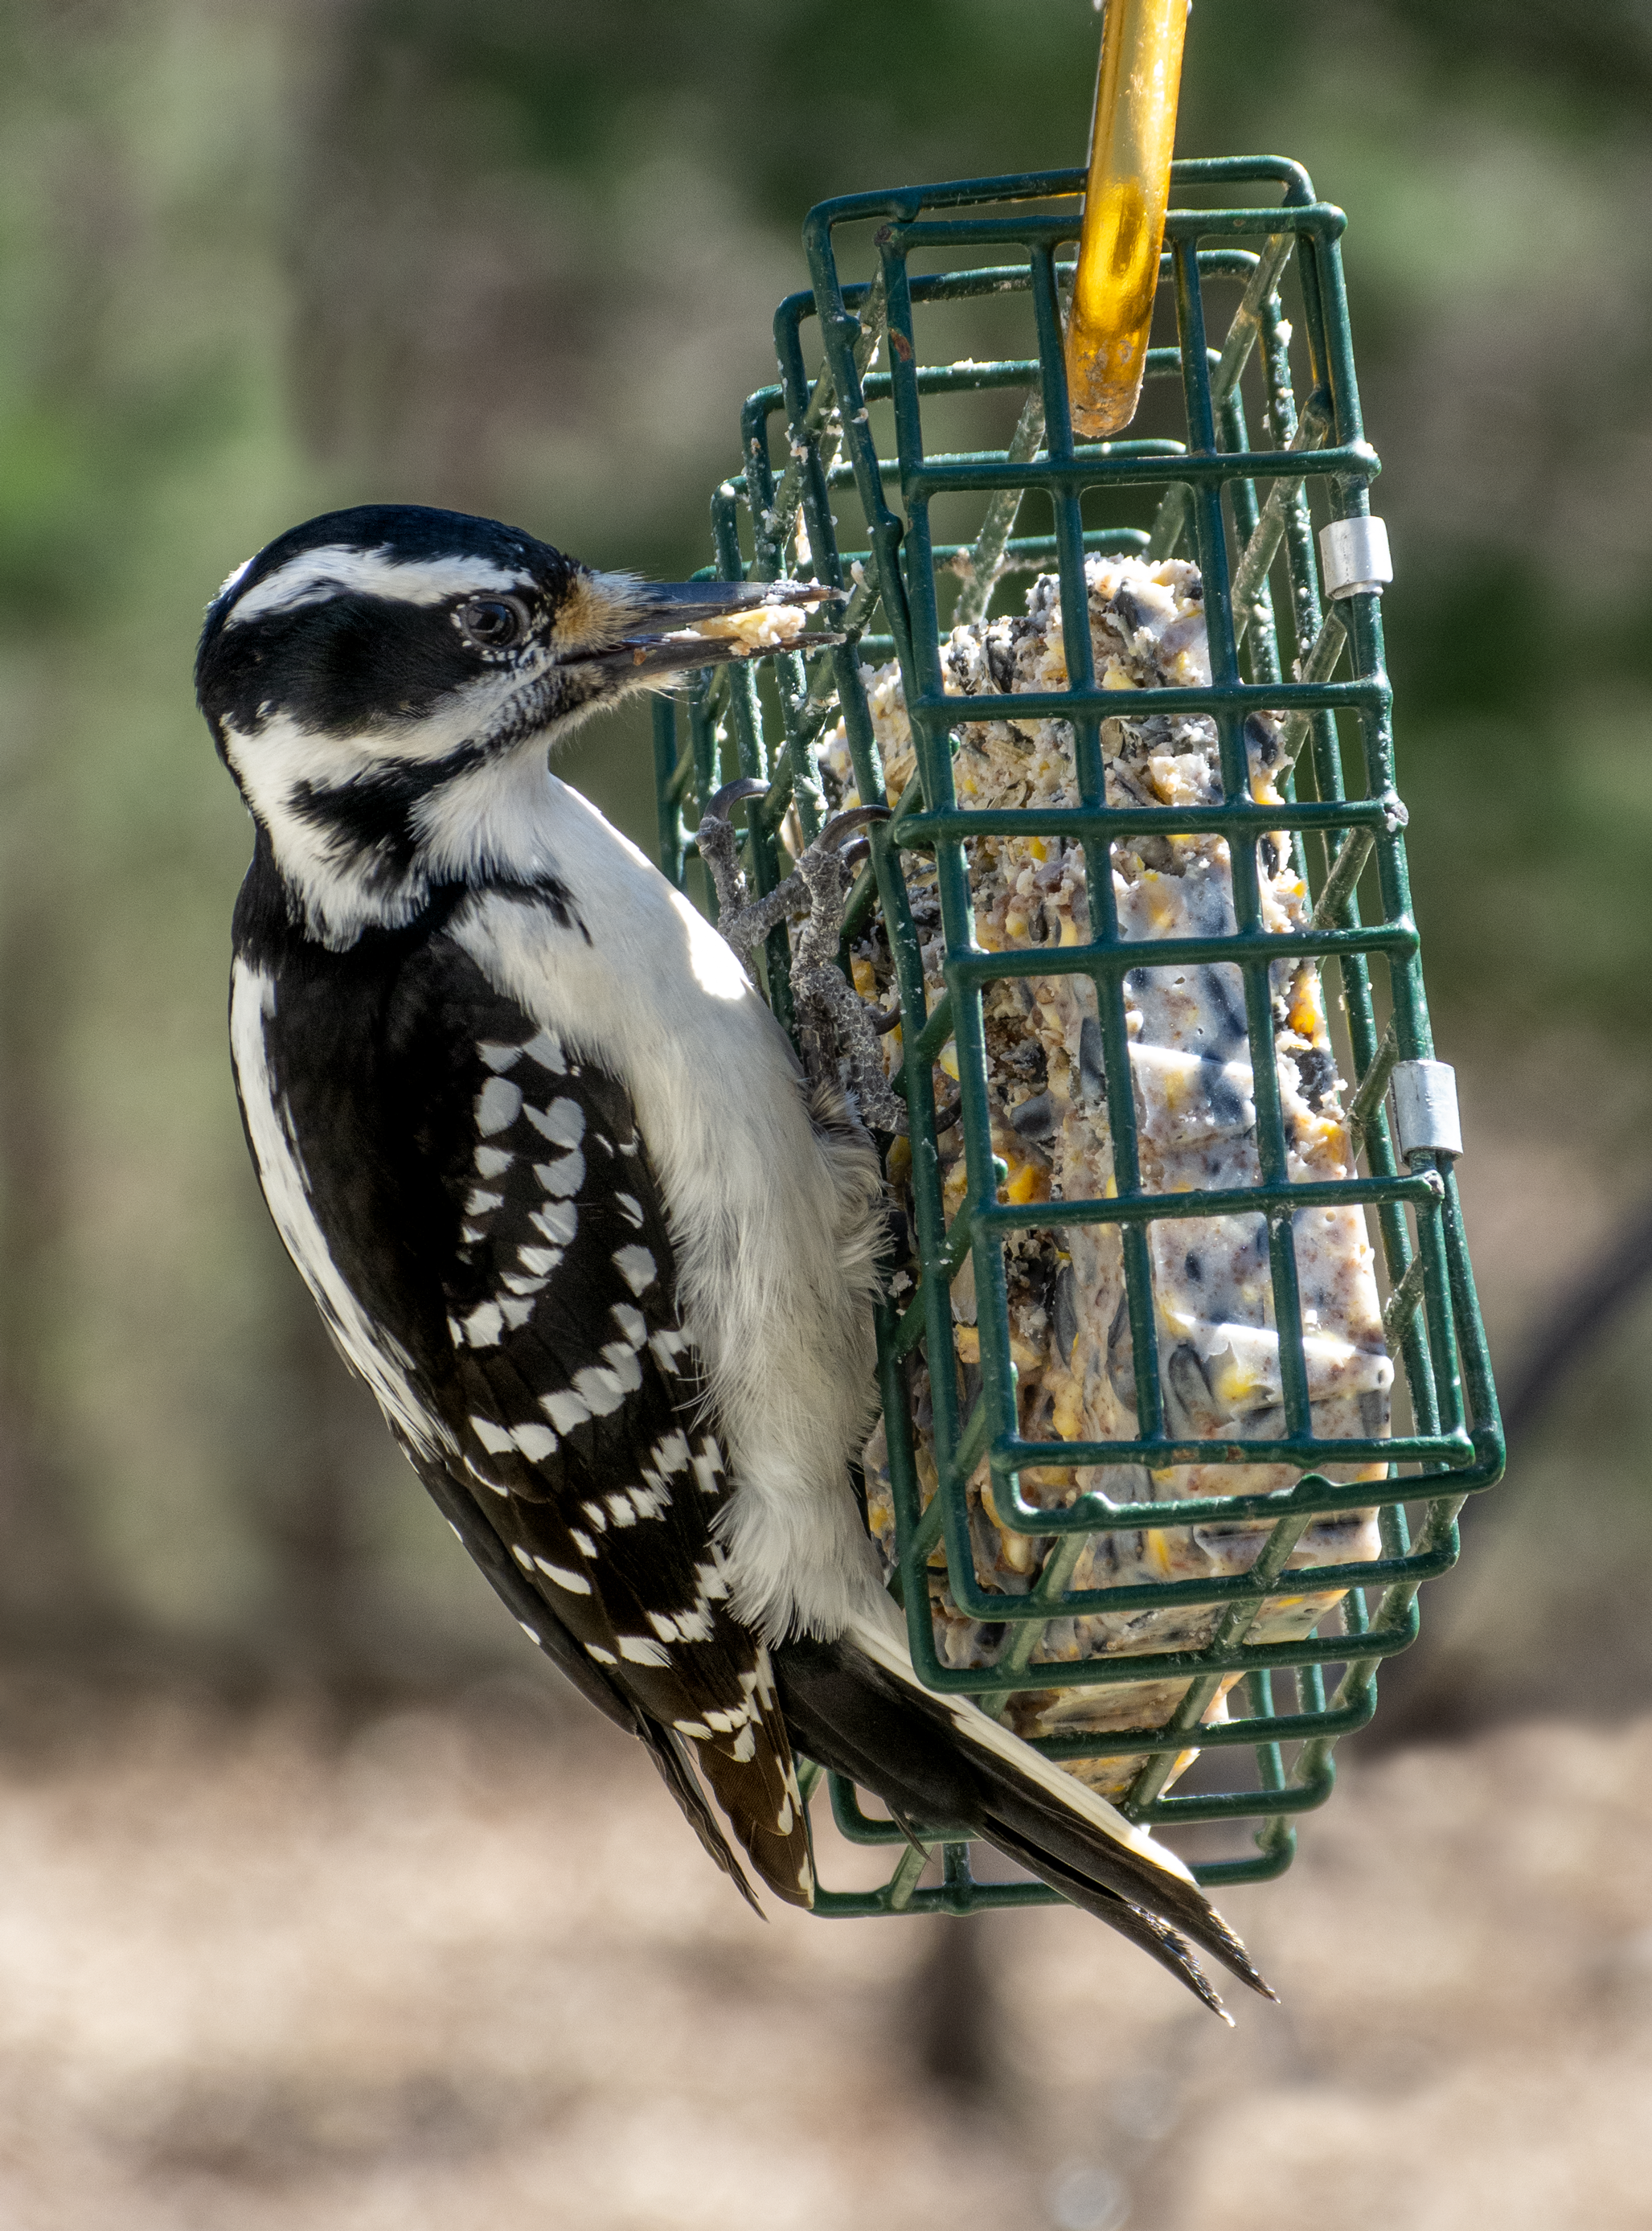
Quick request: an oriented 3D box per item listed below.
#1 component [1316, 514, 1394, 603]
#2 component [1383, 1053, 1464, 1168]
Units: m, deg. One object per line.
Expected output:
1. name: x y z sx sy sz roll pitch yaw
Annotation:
1. component: 0.533 -0.563 3.602 0.072 0.083 0.165 0 7 8
2. component: 0.585 -0.005 3.483 0.068 0.108 0.130 1 8 9
